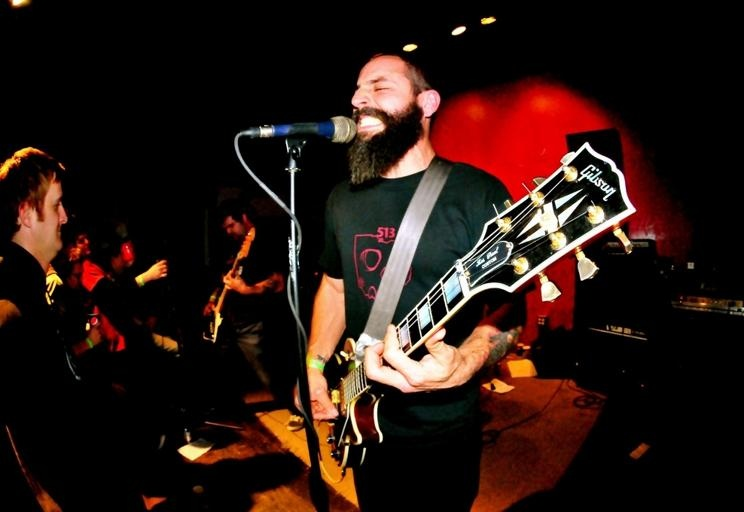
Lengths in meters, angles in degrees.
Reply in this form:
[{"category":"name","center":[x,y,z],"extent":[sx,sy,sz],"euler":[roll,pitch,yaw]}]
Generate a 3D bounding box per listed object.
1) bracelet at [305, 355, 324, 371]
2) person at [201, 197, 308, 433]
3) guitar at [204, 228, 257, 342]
[{"category":"bracelet","center":[-0.462,0.884,4.663],"extent":[0.123,0.092,0.124],"euler":[2,-14,0]},{"category":"person","center":[-1.480,0.654,7.207],"extent":[1.373,3.043,0.338],"euler":[-1,14,30]},{"category":"guitar","center":[-1.752,0.240,7.457],"extent":[0.589,0.228,1.809],"euler":[8,48,-8]}]
